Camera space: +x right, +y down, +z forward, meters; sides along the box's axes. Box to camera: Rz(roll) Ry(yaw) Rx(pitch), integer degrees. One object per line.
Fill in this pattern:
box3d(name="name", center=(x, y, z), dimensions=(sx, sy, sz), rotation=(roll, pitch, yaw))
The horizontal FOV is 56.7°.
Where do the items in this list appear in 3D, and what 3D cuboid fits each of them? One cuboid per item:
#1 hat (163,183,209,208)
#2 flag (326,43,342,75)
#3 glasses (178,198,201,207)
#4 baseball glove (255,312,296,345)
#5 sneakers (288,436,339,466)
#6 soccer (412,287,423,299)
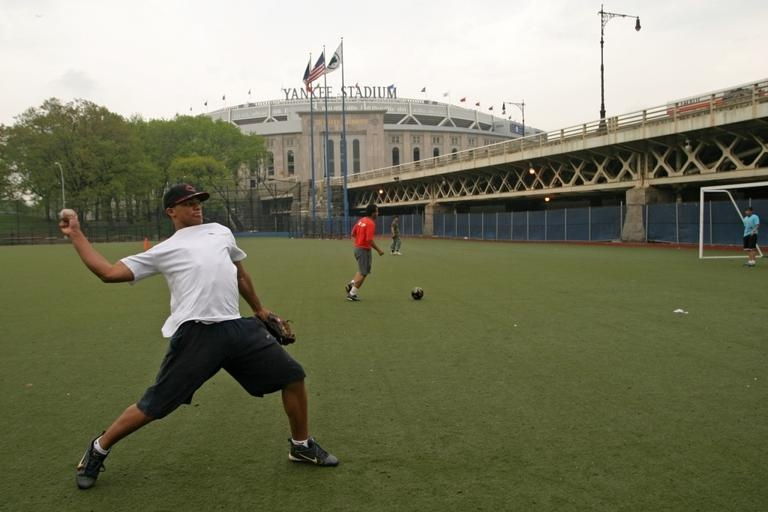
box3d(name="hat", center=(-2.240, -0.696, 7.978), dimensions=(0.430, 0.224, 0.307), rotation=(-15, 0, 8))
box3d(name="flag", center=(-3.778, -14.980, 53.599), dimensions=(1.160, 2.217, 4.233), rotation=(-2, 12, -5))
box3d(name="glasses", center=(-2.173, -0.591, 8.002), dimensions=(0.231, 0.104, 0.145), rotation=(6, 2, 7))
box3d(name="baseball glove", center=(-1.228, 0.852, 8.284), dimensions=(0.173, 0.371, 0.374), rotation=(-40, -16, -10))
box3d(name="sneakers", center=(-0.786, 2.249, 8.291), dimensions=(0.640, 0.289, 0.250), rotation=(7, 5, -4))
box3d(name="soccer", center=(0.750, 0.856, 16.416), dimensions=(0.227, 0.249, 0.417), rotation=(1, 12, 9))
